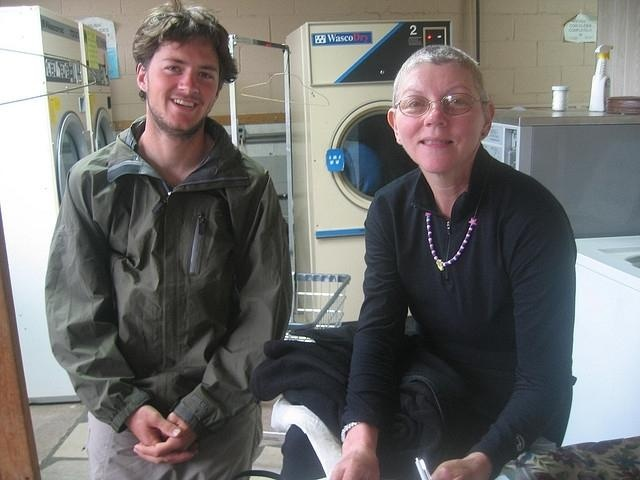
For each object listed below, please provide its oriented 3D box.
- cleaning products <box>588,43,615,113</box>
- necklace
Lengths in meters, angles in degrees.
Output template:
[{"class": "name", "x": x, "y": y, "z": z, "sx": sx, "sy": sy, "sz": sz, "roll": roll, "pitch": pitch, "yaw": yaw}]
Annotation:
[{"class": "cleaning products", "x": 1.539, "y": -0.880, "z": 3.006, "sx": 0.089, "sy": 0.346, "sz": 0.166, "roll": 4, "pitch": 11, "yaw": 27}, {"class": "necklace", "x": 0.397, "y": 0.005, "z": 1.628, "sx": 0.017, "sy": 0.150, "sz": 0.146, "roll": -4, "pitch": 12, "yaw": -42}]
